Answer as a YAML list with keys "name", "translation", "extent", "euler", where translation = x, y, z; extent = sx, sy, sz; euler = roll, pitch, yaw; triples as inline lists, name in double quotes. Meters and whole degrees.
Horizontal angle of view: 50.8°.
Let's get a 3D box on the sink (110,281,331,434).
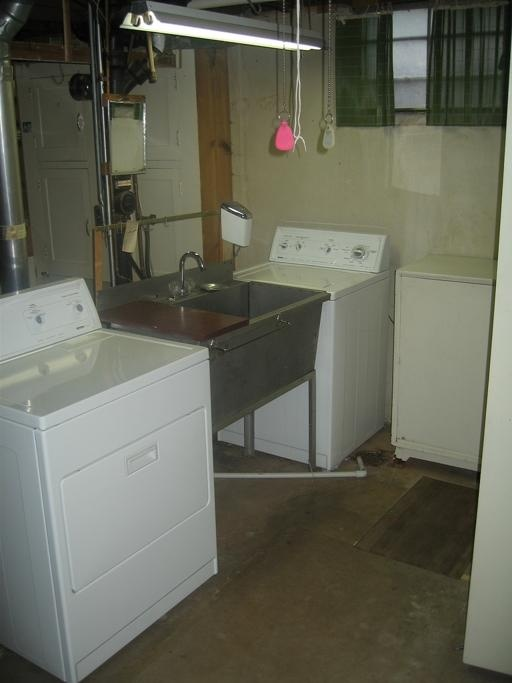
- name: "sink"
  translation: [-0.101, -0.003, 2.090]
  extent: [0.616, 0.441, 0.926]
  euler: [12, 22, 30]
